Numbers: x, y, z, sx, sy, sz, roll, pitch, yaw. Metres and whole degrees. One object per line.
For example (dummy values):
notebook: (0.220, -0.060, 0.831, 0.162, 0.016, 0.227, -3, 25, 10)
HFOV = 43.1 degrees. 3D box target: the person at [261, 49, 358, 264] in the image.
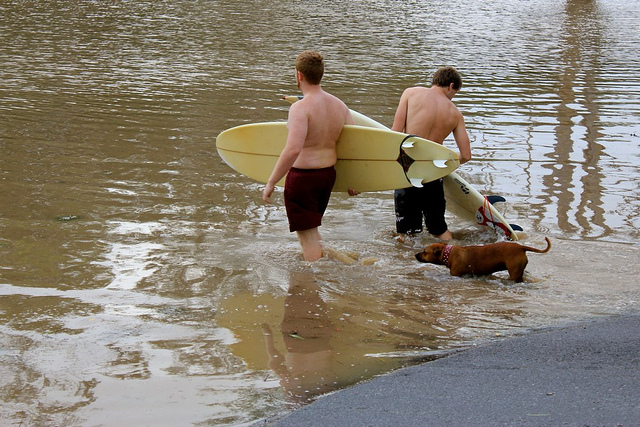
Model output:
person: (-0.106, -0.641, 9.578, 0.684, 2.491, 1.000, 8, 20, 21)

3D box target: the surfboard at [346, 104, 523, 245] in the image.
surfboard: (1.513, -0.438, 10.765, 0.372, 3.369, 0.547, -53, 4, -18)

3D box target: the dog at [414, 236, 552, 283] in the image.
dog: (1.952, 0.578, 9.445, 1.775, 0.590, 0.396, -4, 4, 40)
